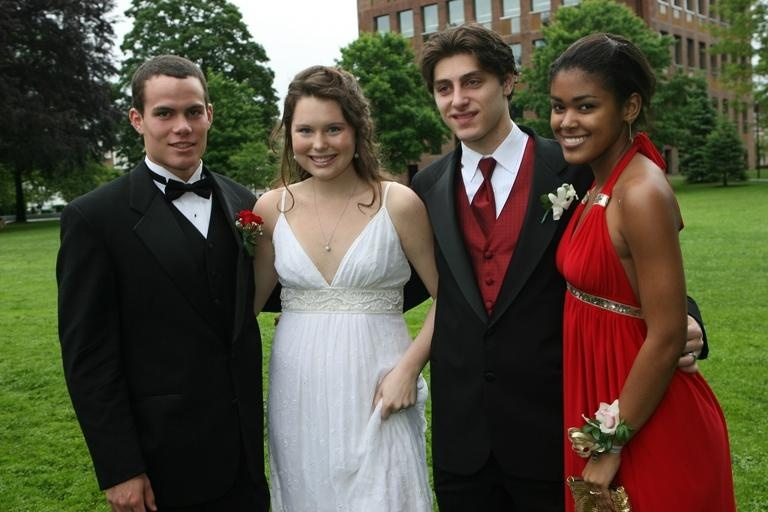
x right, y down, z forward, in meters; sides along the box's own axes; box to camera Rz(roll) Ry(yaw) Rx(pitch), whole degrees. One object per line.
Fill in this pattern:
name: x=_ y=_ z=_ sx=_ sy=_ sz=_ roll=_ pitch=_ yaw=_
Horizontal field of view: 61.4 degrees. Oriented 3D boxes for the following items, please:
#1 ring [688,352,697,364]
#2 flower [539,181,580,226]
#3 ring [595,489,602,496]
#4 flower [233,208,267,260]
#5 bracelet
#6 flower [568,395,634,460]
ring: x=1.771 y=0.588 z=3.726 sx=0.056 sy=0.069 sz=0.037 roll=-8 pitch=-8 yaw=42
flower: x=1.109 y=-0.391 z=4.109 sx=0.221 sy=0.086 sz=0.199 roll=-17 pitch=24 yaw=-20
ring: x=1.217 y=1.338 z=3.646 sx=0.028 sy=0.025 sz=0.007 roll=-2 pitch=5 yaw=11
flower: x=-0.895 y=-0.168 z=4.371 sx=0.209 sy=0.289 sz=0.206 roll=15 pitch=25 yaw=13
bracelet: x=1.192 y=0.987 z=3.592 sx=0.324 sy=0.236 sz=0.326 roll=-48 pitch=3 yaw=23
flower: x=1.200 y=0.948 z=3.565 sx=0.223 sy=0.161 sz=0.166 roll=-6 pitch=6 yaw=-4
